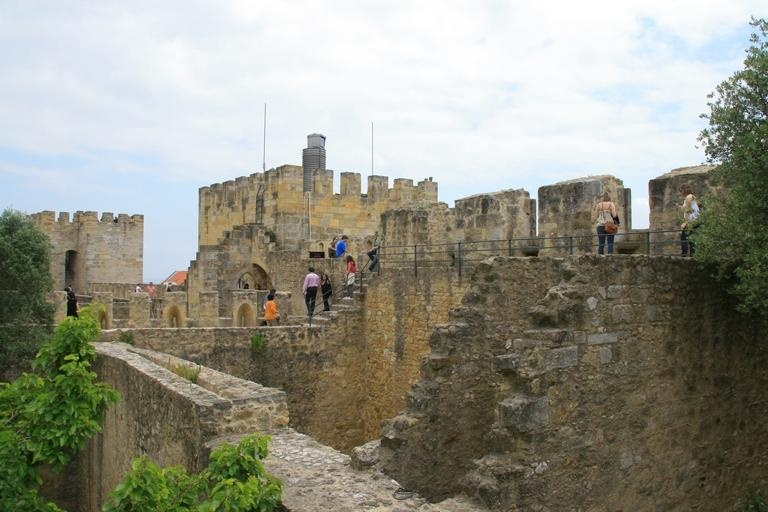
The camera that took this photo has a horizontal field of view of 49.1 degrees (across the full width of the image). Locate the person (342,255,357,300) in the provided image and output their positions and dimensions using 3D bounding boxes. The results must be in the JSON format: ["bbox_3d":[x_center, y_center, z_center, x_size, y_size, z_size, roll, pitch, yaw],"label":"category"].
[{"bbox_3d":[-0.829,0.521,20.742,0.335,1.020,0.668,-12,9,-3],"label":"person"}]
